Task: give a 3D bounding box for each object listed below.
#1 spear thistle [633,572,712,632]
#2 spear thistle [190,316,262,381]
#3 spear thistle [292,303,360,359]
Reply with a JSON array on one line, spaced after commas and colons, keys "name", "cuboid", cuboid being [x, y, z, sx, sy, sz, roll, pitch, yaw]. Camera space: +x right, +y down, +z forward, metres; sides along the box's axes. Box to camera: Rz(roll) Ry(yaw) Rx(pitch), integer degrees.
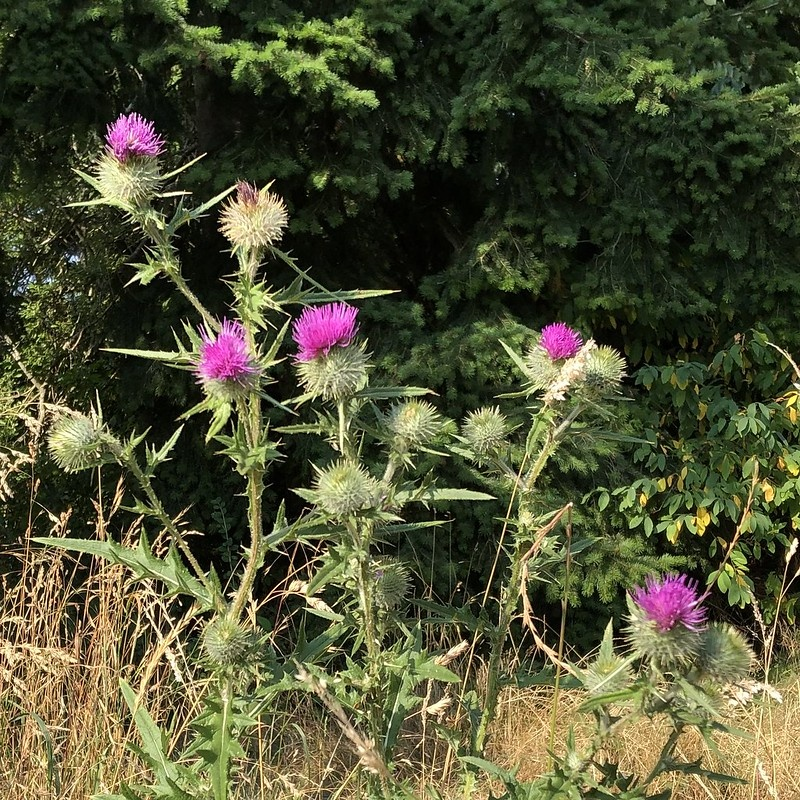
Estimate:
[{"name": "spear thistle", "cuboid": [1.011, 0.782, 4.910, 0.271, 0.257, 0.280, 6, 1, -34]}, {"name": "spear thistle", "cuboid": [-0.686, -0.188, 5.266, 0.198, 0.268, 0.278, 1, 55, 22]}, {"name": "spear thistle", "cuboid": [-0.318, -0.301, 5.453, 0.263, 0.220, 0.389, -9, 25, -5]}]
